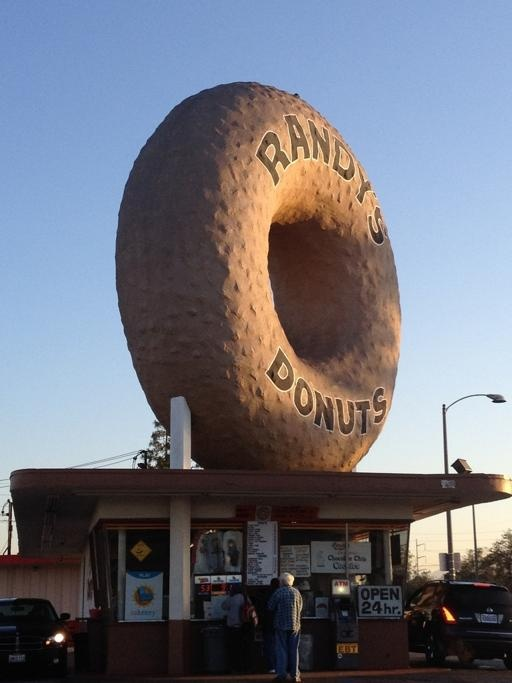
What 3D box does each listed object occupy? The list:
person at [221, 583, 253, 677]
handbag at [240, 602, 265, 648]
[{"bbox_3d":[-0.266,4.264,12.084,0.409,1.255,0.591,-1,-11,-3],"label":"person"},{"bbox_3d":[-0.071,4.219,12.155,0.170,0.670,0.459,-6,-11,17],"label":"handbag"}]
